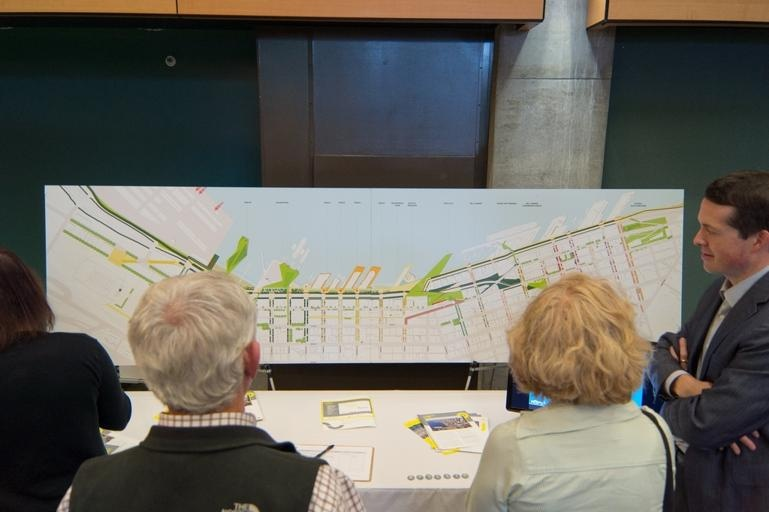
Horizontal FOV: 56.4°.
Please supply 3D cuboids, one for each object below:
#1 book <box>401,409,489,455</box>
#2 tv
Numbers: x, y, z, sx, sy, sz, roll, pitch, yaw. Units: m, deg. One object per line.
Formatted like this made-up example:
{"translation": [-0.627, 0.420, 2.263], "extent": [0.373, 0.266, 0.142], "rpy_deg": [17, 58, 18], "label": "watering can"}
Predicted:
{"translation": [0.323, 0.953, 3.842], "extent": [0.291, 0.015, 0.308], "rpy_deg": [-1, 24, 1], "label": "book"}
{"translation": [1.040, 0.746, 3.829], "extent": [0.497, 0.401, 0.709], "rpy_deg": [-5, 10, -12], "label": "tv"}
